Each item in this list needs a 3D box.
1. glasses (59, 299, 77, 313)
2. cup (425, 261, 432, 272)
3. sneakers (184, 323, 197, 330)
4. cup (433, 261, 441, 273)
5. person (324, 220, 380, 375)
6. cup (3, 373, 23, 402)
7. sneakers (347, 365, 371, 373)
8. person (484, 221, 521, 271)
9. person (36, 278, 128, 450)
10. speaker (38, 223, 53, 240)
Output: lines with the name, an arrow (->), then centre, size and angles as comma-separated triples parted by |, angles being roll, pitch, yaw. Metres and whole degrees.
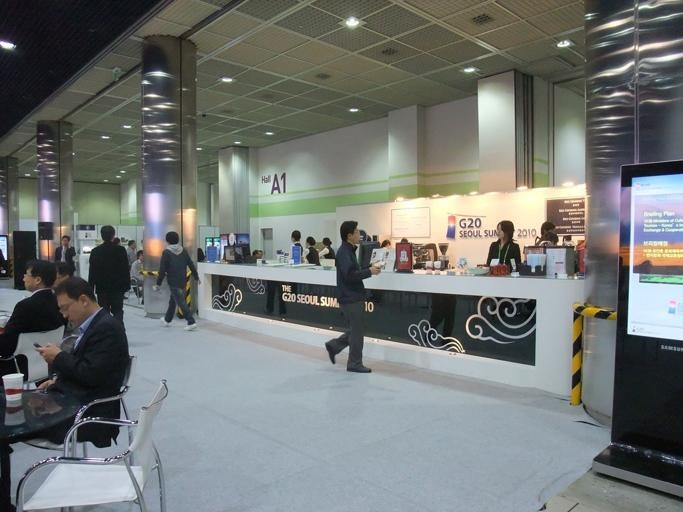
glasses -> -1.869, 0.350, 3.470 | 0.084, 0.099, 0.116 | -9, -20, 38
cup -> 1.056, 0.118, 6.055 | 0.080, 0.104, 0.140 | 0, 4, 9
sneakers -> -2.406, 1.121, 7.949 | 0.158, 0.076, 0.090 | 1, 5, 23
cup -> 1.156, 0.125, 6.093 | 0.090, 0.143, 0.092 | -1, 10, 0
person -> 0.106, 0.451, 5.745 | 0.571, 1.672, 0.510 | -2, 5, -14
cup -> -1.988, 0.799, 3.052 | 0.132, 0.149, 0.144 | -2, -8, 0
sneakers -> 0.194, 1.267, 5.667 | 0.262, 0.109, 0.091 | -1, -6, 6
person -> 1.941, -0.128, 6.029 | 0.371, 0.564, 1.297 | 0, 5, 16
person -> -1.813, 0.817, 3.539 | 0.634, 1.253, 0.563 | 5, 9, -41
speaker -> -7.712, -0.639, 13.216 | 0.419, 0.496, 0.422 | 1, -4, -31
